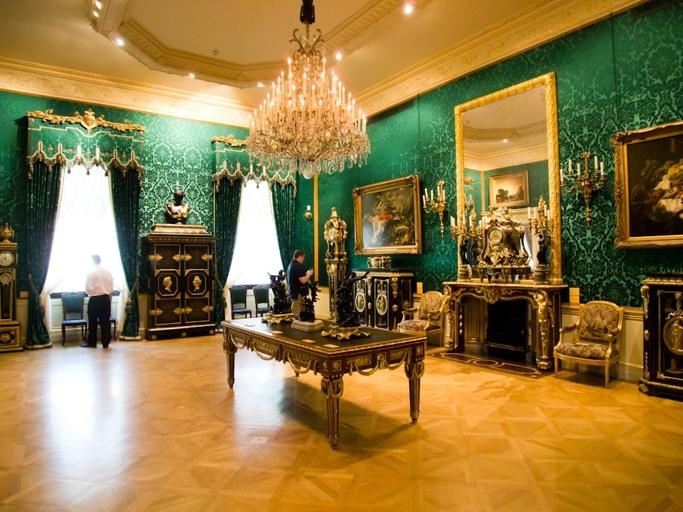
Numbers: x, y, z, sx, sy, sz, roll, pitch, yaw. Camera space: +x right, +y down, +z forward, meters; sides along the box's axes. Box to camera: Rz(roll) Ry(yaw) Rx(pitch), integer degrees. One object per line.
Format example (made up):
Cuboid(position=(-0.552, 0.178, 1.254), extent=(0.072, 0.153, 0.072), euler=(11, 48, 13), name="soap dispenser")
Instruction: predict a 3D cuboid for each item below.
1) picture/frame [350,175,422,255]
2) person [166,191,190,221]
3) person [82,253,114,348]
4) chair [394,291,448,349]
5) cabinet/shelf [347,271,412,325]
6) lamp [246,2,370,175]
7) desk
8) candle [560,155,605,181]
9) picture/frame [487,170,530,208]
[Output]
Cuboid(position=(0.912, -0.796, 9.519), extent=(0.251, 1.329, 1.508), euler=(3, -6, -40), name="picture/frame")
Cuboid(position=(-3.459, -1.025, 10.202), extent=(0.522, 0.828, 0.310), euler=(5, -19, -32), name="person")
Cuboid(position=(-4.542, 0.830, 8.967), extent=(0.531, 1.667, 0.521), euler=(-1, 9, -2), name="person")
Cuboid(position=(1.491, 1.024, 8.263), extent=(0.923, 1.232, 0.894), euler=(5, -6, -40), name="chair")
Cuboid(position=(0.709, 0.725, 8.414), extent=(0.396, 0.899, 1.013), euler=(4, -5, -39), name="cabinet/shelf")
Cuboid(position=(-0.613, -2.498, 7.301), extent=(1.567, 2.599, 1.765), euler=(-4, 9, -18), name="lamp")
Cuboid(position=(-0.300, 1.319, 5.702), extent=(2.250, 1.030, 1.155), euler=(6, 12, 38), name="desk")
Cuboid(position=(3.426, -1.203, 6.893), extent=(0.343, 0.237, 0.355), euler=(0, 3, 12), name="candle")
Cuboid(position=(2.627, -1.051, 7.621), extent=(0.045, 0.610, 0.614), euler=(2, 0, -37), name="picture/frame")
